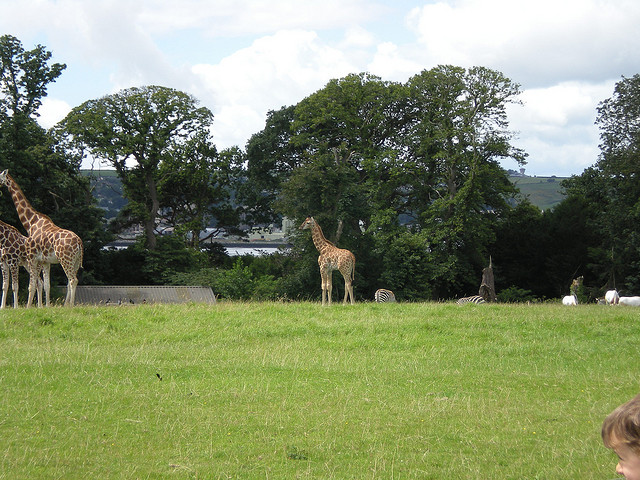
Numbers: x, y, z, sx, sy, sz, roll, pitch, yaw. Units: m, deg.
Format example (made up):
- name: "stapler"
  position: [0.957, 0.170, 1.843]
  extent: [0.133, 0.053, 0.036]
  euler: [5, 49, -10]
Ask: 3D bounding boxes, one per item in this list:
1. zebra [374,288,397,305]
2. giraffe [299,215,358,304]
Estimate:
- name: "zebra"
  position: [3.450, 2.948, 50.628]
  extent: [0.836, 0.778, 2.800]
  euler: [-3, 8, 8]
- name: "giraffe"
  position: [0.496, 1.135, 43.404]
  extent: [1.965, 3.580, 2.955]
  euler: [-5, 8, -6]
